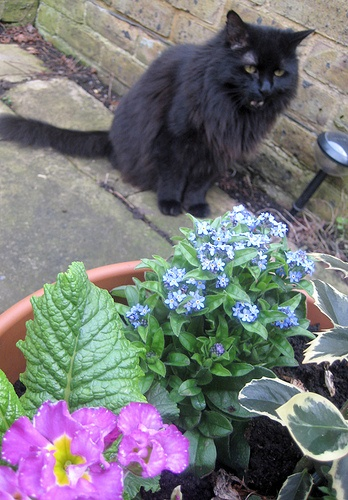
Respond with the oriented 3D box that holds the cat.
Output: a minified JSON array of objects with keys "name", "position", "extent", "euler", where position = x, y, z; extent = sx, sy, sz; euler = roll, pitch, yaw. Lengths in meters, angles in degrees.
[{"name":"cat","position":[-0.013,-0.962,2.852],"extent":[1.804,1.104,0.890],"euler":[27,35,33]}]
